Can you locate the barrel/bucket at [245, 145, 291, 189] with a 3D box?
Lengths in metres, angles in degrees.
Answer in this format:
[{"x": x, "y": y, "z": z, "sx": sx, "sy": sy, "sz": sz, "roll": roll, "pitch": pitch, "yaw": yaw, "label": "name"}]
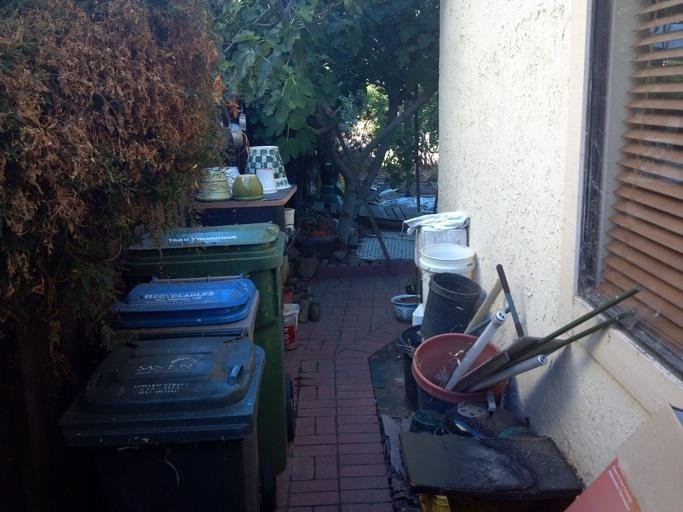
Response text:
[{"x": -0.782, "y": -0.962, "z": 6.385, "sx": 0.464, "sy": 0.487, "sz": 0.453, "roll": -1, "pitch": 6, "yaw": 0, "label": "barrel/bucket"}]
